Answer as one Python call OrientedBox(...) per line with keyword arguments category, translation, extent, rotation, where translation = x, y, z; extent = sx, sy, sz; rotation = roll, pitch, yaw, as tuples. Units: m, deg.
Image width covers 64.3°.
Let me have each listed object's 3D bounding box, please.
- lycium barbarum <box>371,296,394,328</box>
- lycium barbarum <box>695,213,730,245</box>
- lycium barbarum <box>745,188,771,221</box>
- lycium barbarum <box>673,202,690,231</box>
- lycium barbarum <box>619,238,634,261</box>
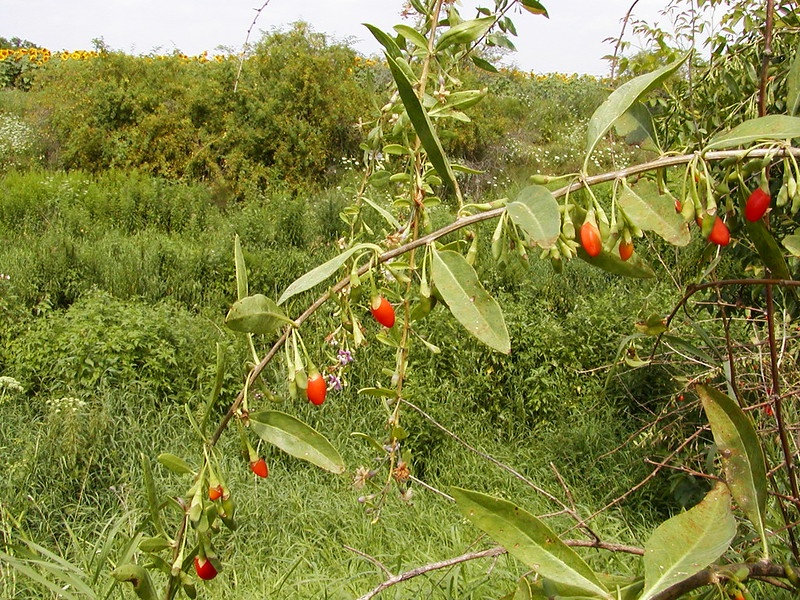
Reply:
OrientedBox(category="lycium barbarum", translation=(-0.031, 0.021, 1.475), extent=(0.042, 0.075, 0.040), rotation=(-32, 5, 12))
OrientedBox(category="lycium barbarum", translation=(0.697, -0.174, 1.431), extent=(0.048, 0.092, 0.029), rotation=(17, -42, -33))
OrientedBox(category="lycium barbarum", translation=(0.795, -0.203, 1.424), extent=(0.041, 0.083, 0.044), rotation=(33, -25, -14))
OrientedBox(category="lycium barbarum", translation=(0.632, -0.191, 1.437), extent=(0.020, 0.054, 0.045), rotation=(-19, -20, 10))
OrientedBox(category="lycium barbarum", translation=(0.504, -0.112, 1.414), extent=(0.029, 0.045, 0.026), rotation=(-7, -2, -37))
